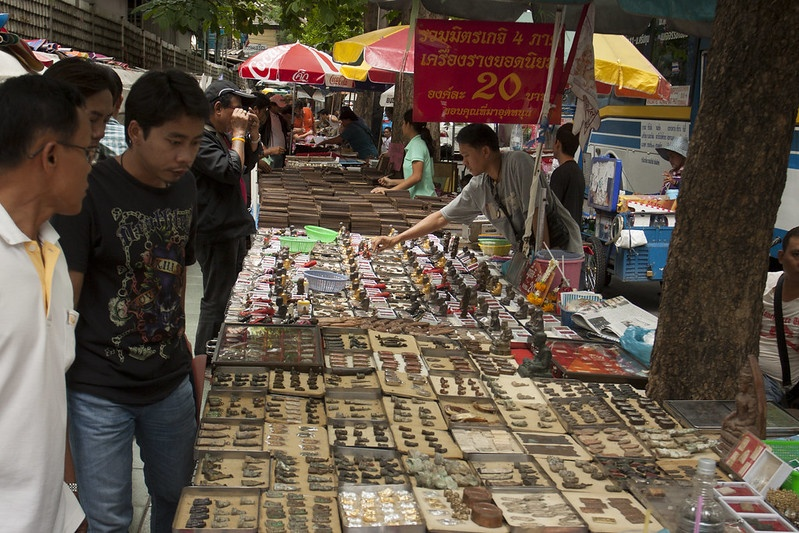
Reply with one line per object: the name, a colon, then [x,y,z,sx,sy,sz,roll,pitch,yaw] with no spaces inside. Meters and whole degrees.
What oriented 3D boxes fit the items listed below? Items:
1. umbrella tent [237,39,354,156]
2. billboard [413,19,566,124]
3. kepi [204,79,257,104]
umbrella tent: [-2.752,-4.116,13.585,2.819,2.271,2.570,10,29,12]
billboard: [0.898,-1.965,5.688,1.608,0.994,0.019,-3,21,-15]
kepi: [-1.736,-1.802,5.698,0.468,0.247,0.507,-2,13,-15]
